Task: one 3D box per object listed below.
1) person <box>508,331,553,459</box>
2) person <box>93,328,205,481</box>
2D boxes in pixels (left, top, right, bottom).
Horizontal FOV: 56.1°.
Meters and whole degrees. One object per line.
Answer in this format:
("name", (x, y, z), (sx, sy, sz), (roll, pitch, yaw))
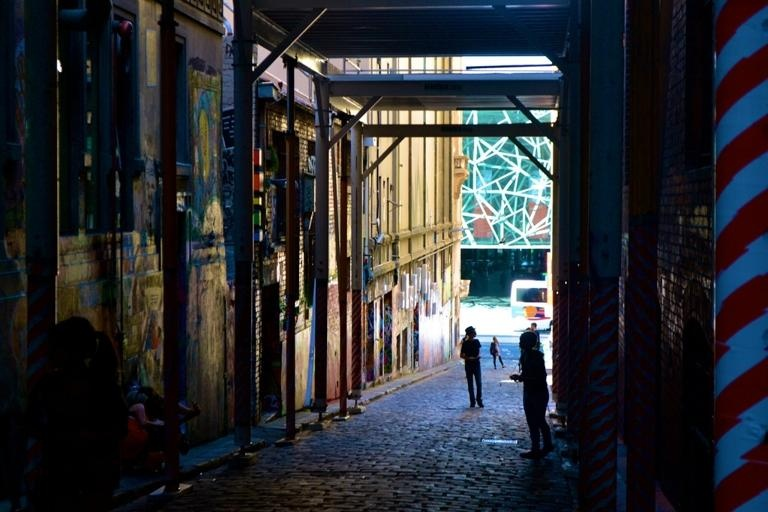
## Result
("person", (2.535, 2.313, 12.307), (0.578, 1.662, 1.376), (-2, -1, 10))
("person", (-2.921, 1.972, 8.778), (1.067, 1.309, 1.979), (0, -2, 3))
